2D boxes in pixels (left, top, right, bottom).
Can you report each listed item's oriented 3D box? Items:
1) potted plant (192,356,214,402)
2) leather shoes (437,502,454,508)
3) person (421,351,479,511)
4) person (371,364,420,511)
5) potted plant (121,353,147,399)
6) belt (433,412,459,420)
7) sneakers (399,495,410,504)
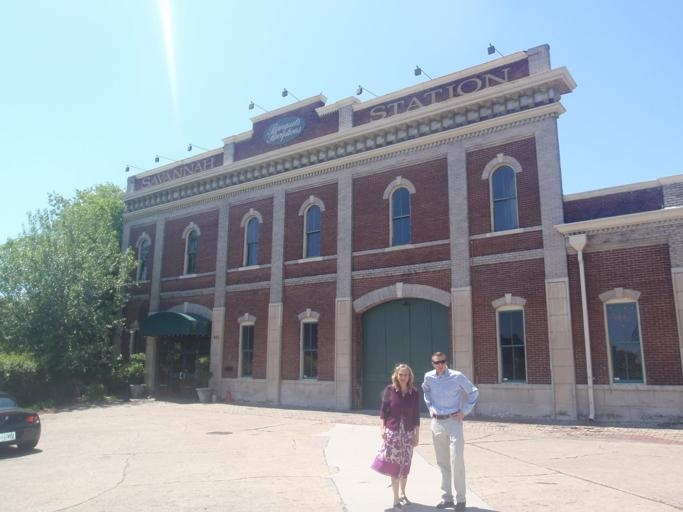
[{"bbox_3d":[-6.827,6.092,26.804,0.783,2.308,1.826,7,-17,-25],"label":"potted plant"},{"bbox_3d":[1.824,4.374,9.466,0.308,0.128,0.112,10,-18,-18],"label":"leather shoes"},{"bbox_3d":[2.037,3.153,9.879,0.708,2.682,0.823,8,-17,-28],"label":"person"},{"bbox_3d":[1.019,3.259,9.861,0.846,2.490,0.386,-1,-15,2],"label":"person"},{"bbox_3d":[-11.013,6.495,28.781,1.712,2.622,1.773,6,-16,-38],"label":"potted plant"},{"bbox_3d":[1.929,2.926,9.840,0.538,0.116,0.077,-10,-18,30],"label":"belt"},{"bbox_3d":[1.140,4.397,9.717,0.109,0.122,0.182,-15,-40,34],"label":"sneakers"}]
